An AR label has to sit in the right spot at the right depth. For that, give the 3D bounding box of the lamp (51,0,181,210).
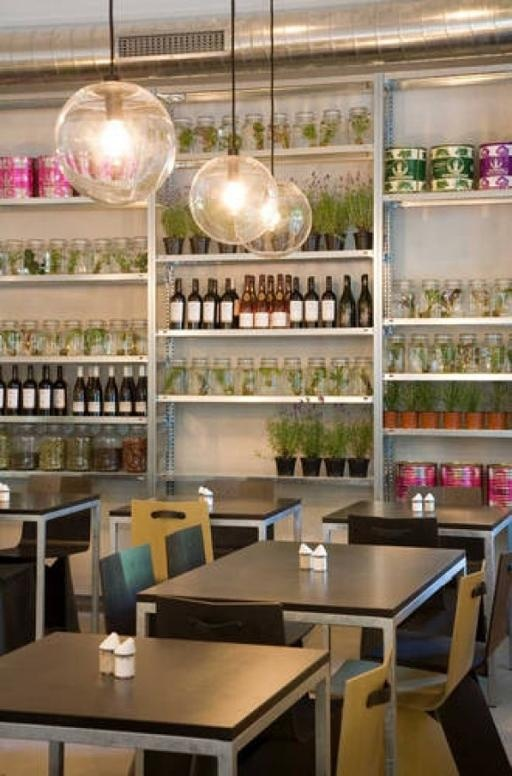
[{"bbox_3d":[-0.289,-0.526,1.736,0.242,0.284,0.156,-3,7,-8],"label":"lamp"}]

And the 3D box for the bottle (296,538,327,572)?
[{"bbox_3d":[0.160,0.475,2.376,0.069,0.080,0.055,-1,-3,19],"label":"bottle"}]

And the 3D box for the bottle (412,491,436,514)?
[{"bbox_3d":[0.719,0.487,3.607,0.090,0.083,0.168,1,8,16],"label":"bottle"}]

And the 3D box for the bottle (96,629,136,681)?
[{"bbox_3d":[-0.238,0.428,1.402,0.079,0.091,0.058,-1,-7,14],"label":"bottle"}]

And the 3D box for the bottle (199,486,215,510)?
[{"bbox_3d":[-0.215,0.497,3.834,0.047,0.064,0.148,1,-7,-15],"label":"bottle"}]
